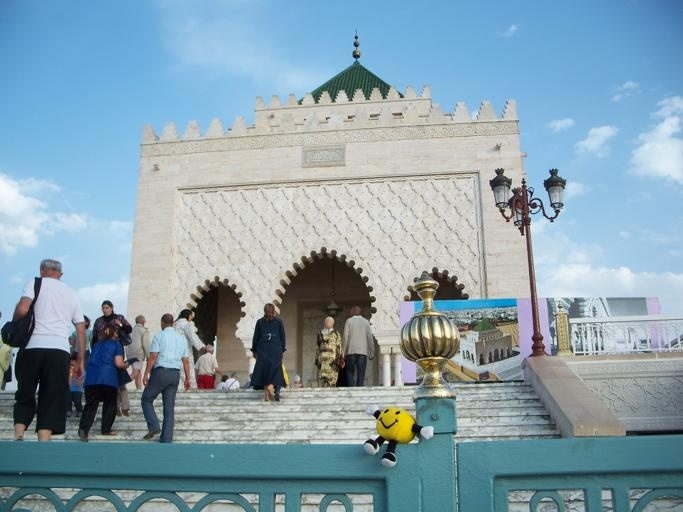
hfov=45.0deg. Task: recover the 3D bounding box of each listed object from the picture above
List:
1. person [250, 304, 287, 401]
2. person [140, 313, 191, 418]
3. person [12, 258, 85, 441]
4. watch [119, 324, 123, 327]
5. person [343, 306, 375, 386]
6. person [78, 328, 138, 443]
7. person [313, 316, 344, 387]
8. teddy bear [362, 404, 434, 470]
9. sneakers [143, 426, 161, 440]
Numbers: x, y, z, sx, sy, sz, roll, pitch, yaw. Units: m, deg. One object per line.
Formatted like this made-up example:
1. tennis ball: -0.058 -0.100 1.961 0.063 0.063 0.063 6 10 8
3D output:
1. person: -0.836 1.084 9.355 0.382 1.086 0.300 0 -5 -5
2. person: -1.787 1.207 8.337 0.459 1.268 0.926 0 -6 -11
3. person: -2.458 0.802 6.791 0.602 1.635 0.460 6 -14 -10
4. watch: -2.371 0.736 8.836 0.010 0.032 0.033 -3 -4 43
5. person: 0.216 1.174 10.829 0.394 1.047 0.680 -1 -5 1
6. person: -2.434 1.251 8.363 0.462 1.136 0.415 2 -6 -30
7. person: -0.163 1.228 10.637 0.355 0.912 0.898 -1 -5 0
8. teddy bear: 0.289 1.002 4.595 0.418 0.308 0.208 -5 -7 35
9. sneakers: -1.887 1.758 8.208 0.058 0.074 0.172 33 -50 -24
